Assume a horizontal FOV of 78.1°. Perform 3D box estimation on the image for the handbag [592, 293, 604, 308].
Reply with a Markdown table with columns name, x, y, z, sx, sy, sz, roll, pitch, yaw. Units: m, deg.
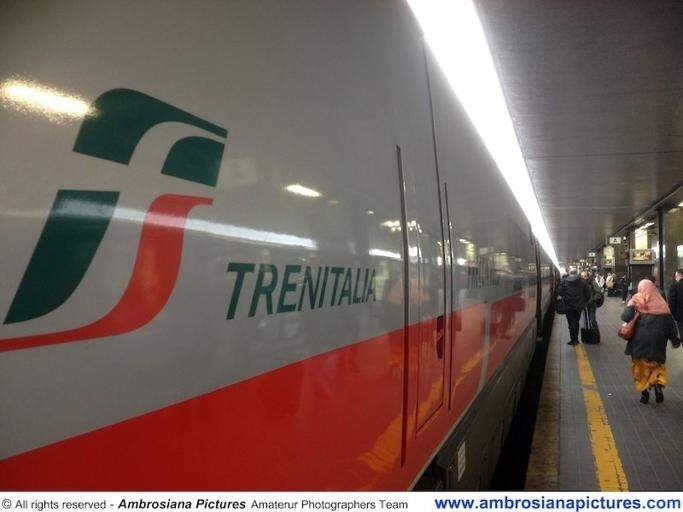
| name | x | y | z | sx | sy | sz | roll | pitch | yaw |
| --- | --- | --- | --- | --- | --- | --- | --- | --- | --- |
| handbag | 7.307 | 1.199 | 11.945 | 0.149 | 0.391 | 0.659 | 0 | -5 | 40 |

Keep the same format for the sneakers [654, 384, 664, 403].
| name | x | y | z | sx | sy | sz | roll | pitch | yaw |
| --- | --- | --- | --- | --- | --- | --- | --- | --- | --- |
| sneakers | 5.289 | 2.270 | 7.006 | 0.115 | 0.395 | 0.148 | -5 | -3 | 28 |

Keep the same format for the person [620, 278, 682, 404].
| name | x | y | z | sx | sy | sz | roll | pitch | yaw |
| --- | --- | --- | --- | --- | --- | --- | --- | --- | --- |
| person | 5.200 | 1.406 | 7.098 | 0.853 | 2.083 | 0.748 | 6 | -5 | -43 |

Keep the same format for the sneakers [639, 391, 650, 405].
| name | x | y | z | sx | sy | sz | roll | pitch | yaw |
| --- | --- | --- | --- | --- | --- | --- | --- | --- | --- |
| sneakers | 5.102 | 2.368 | 7.080 | 0.089 | 0.214 | 0.194 | 4 | -32 | 11 |
